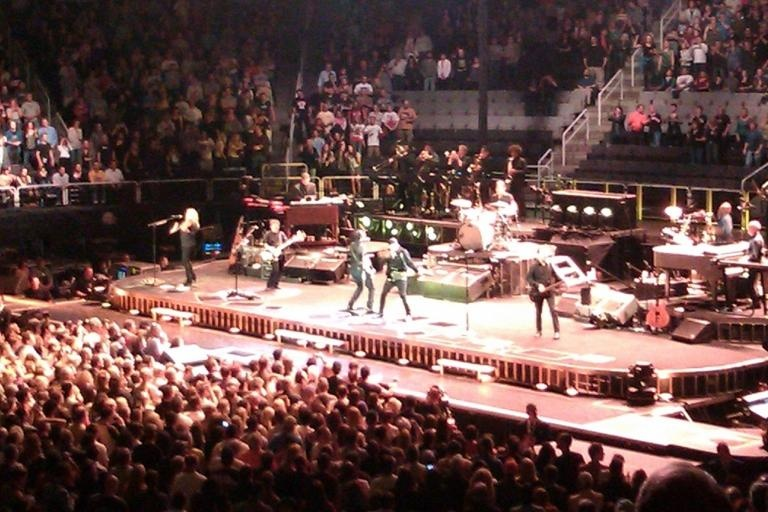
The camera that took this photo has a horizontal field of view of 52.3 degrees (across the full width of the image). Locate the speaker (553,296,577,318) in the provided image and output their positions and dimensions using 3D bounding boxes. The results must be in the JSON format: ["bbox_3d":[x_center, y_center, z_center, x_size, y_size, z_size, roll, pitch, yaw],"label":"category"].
[{"bbox_3d":[4.032,1.136,17.385,0.351,0.222,0.535,-1,4,-36],"label":"speaker"}]

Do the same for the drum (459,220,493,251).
[{"bbox_3d":[2.237,-0.500,19.166,0.647,0.612,0.810,4,10,28],"label":"drum"}]

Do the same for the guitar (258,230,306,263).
[{"bbox_3d":[-2.634,-0.192,20.158,0.884,0.333,0.149,-32,-6,-6],"label":"guitar"}]

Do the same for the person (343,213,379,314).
[{"bbox_3d":[-0.516,0.342,17.995,0.625,1.894,1.559,2,5,-2],"label":"person"}]

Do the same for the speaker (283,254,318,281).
[{"bbox_3d":[-2.224,0.336,20.703,0.787,0.692,0.291,4,1,32],"label":"speaker"}]

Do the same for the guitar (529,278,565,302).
[{"bbox_3d":[3.301,0.725,15.780,0.639,0.236,0.396,-19,35,-20],"label":"guitar"}]

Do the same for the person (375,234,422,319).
[{"bbox_3d":[0.339,0.505,17.257,0.798,1.786,0.841,1,5,-9],"label":"person"}]

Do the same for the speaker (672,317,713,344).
[{"bbox_3d":[6.176,1.430,15.543,0.565,0.359,0.553,-22,15,-31],"label":"speaker"}]

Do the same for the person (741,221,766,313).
[{"bbox_3d":[7.740,0.192,16.197,0.371,1.794,0.917,4,5,25],"label":"person"}]

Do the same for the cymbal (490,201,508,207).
[{"bbox_3d":[2.938,-1.275,19.829,0.433,0.160,0.406,3,5,7],"label":"cymbal"}]

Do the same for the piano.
[{"bbox_3d":[6.980,0.305,17.104,2.036,0.929,1.635,6,16,41],"label":"piano"}]

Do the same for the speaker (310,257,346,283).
[{"bbox_3d":[-1.485,0.370,20.576,0.716,0.453,0.683,-3,27,20],"label":"speaker"}]
